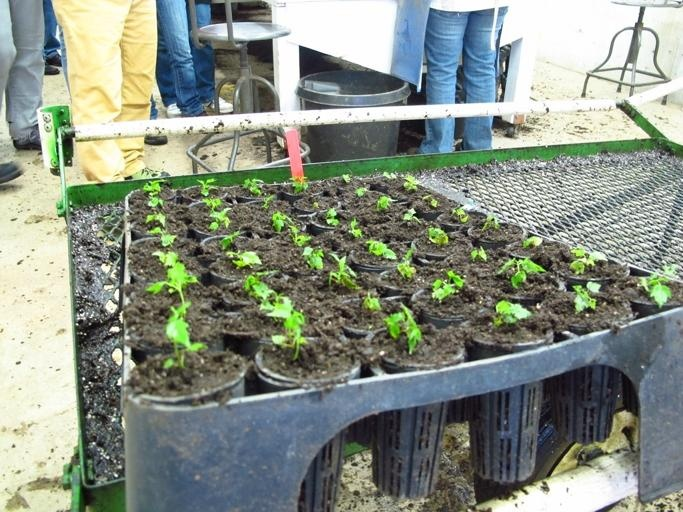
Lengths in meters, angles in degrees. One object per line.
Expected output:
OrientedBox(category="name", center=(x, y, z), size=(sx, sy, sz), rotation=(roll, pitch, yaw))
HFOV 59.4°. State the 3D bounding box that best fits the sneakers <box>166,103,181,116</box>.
OrientedBox(category="sneakers", center=(-1.457, -1.274, 5.212), size=(0.102, 0.132, 0.136), rotation=(0, 30, -9))
